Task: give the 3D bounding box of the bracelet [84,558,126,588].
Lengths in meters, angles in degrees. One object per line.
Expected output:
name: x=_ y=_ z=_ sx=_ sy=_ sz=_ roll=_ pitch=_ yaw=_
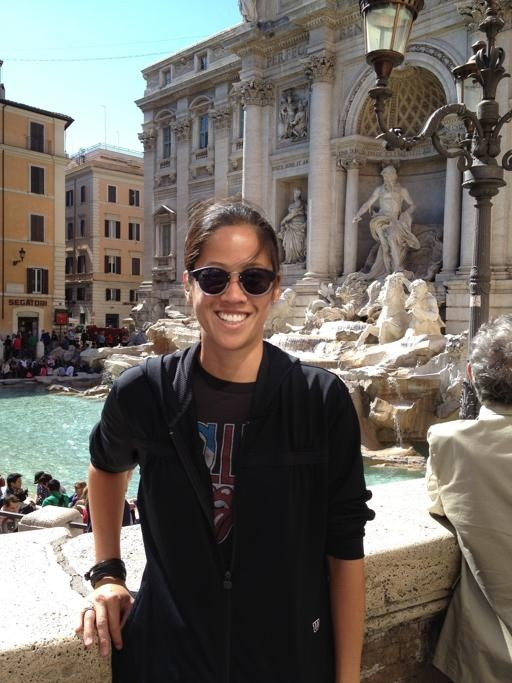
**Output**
bracelet: x=-0.385 y=0.580 z=1.591 sx=0.091 sy=0.059 sz=0.072 roll=-2 pitch=4 yaw=28
